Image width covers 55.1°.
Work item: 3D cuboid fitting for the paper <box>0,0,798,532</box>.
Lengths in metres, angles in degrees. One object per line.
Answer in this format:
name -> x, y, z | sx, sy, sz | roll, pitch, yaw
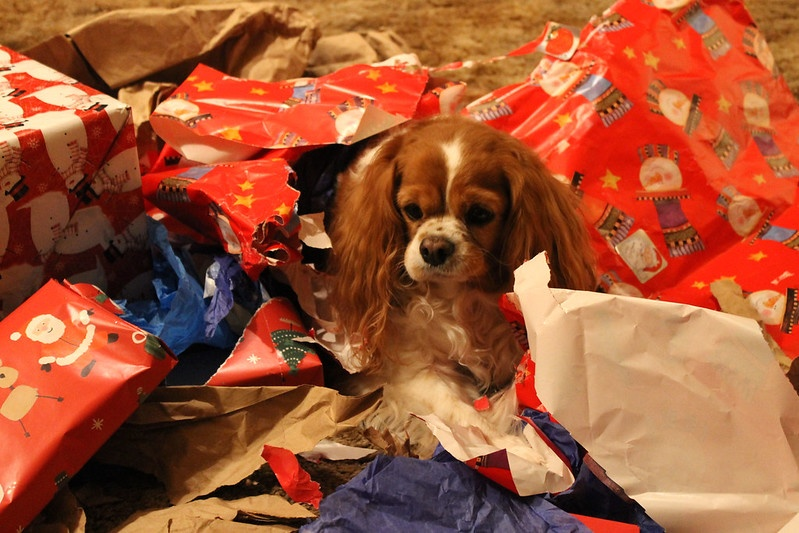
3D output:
paper -> 0.175, 0.150, 2.009 | 1.376, 0.420, 1.051 | -2, 37, 5
